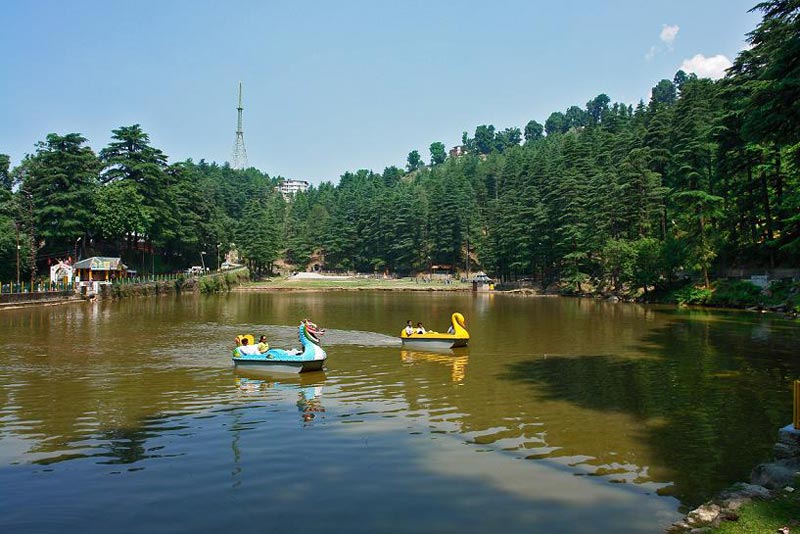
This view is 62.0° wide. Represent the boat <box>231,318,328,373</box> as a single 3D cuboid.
[{"bbox_3d":[-5.717,4.213,31.915,4.122,1.801,2.286,-1,0,11],"label":"boat"}]

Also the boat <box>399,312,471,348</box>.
[{"bbox_3d":[2.044,3.689,38.163,3.574,1.621,1.969,-4,-4,25],"label":"boat"}]
